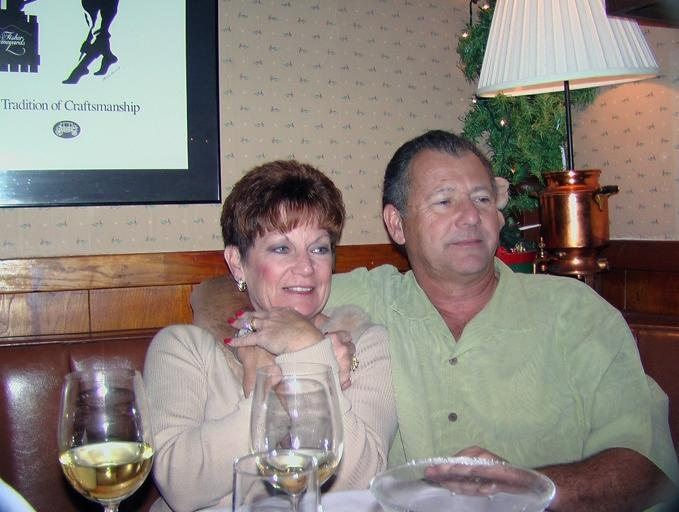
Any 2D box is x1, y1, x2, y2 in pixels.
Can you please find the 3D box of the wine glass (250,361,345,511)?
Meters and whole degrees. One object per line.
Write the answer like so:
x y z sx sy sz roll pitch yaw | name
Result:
-0.088 0.335 1.133 0.180 0.254 0.186 1 9 -7 | wine glass

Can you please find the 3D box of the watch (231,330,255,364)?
-0.278 0.263 1.637 0.070 0.099 0.033 3 9 -1 | watch

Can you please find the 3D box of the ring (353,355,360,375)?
0.048 0.316 1.662 0.016 0.042 0.032 6 7 32 | ring
